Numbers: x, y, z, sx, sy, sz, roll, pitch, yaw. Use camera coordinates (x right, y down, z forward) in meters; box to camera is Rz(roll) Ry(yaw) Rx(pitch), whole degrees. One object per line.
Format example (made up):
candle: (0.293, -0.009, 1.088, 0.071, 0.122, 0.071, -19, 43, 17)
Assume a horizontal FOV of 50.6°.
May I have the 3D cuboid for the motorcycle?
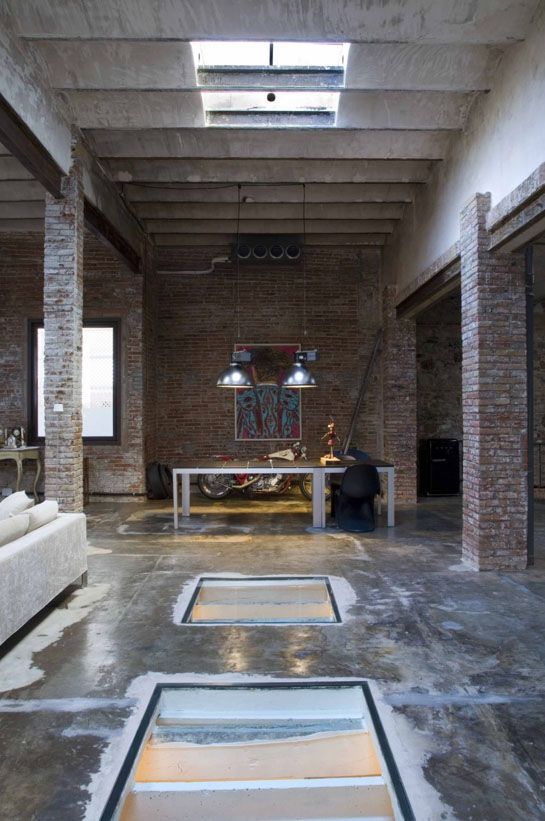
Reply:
motorcycle: (-0.163, 0.815, 8.340, 1.779, 0.920, 0.840, -1, -2, -5)
